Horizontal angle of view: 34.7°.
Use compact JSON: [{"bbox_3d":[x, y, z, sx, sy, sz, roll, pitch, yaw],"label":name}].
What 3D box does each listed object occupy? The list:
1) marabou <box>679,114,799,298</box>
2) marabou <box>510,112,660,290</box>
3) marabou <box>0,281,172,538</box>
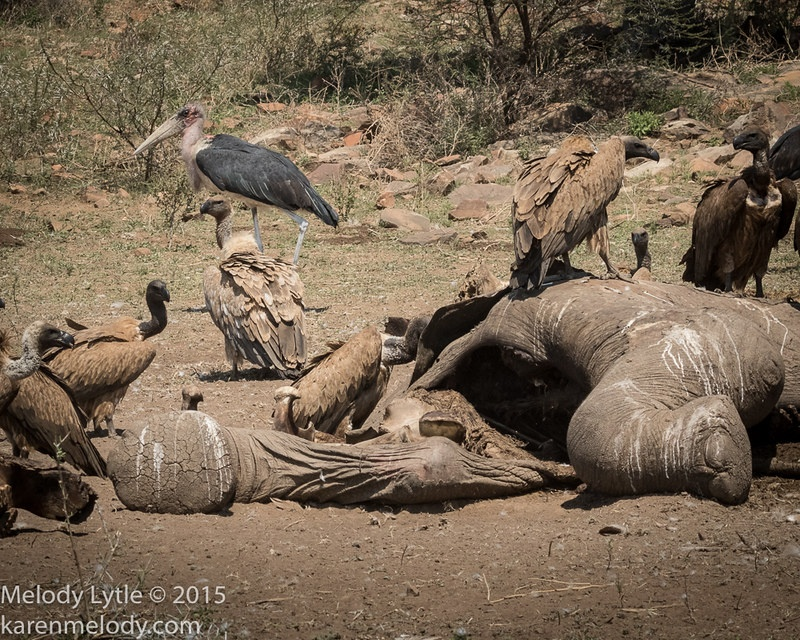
[{"bbox_3d":[3.334,-0.960,12.514,0.965,1.717,0.685,10,29,10],"label":"marabou"},{"bbox_3d":[1.550,-0.964,11.248,1.693,1.323,0.887,-6,2,-43],"label":"marabou"},{"bbox_3d":[-2.494,0.666,11.117,0.984,1.332,2.090,7,22,43],"label":"marabou"}]
